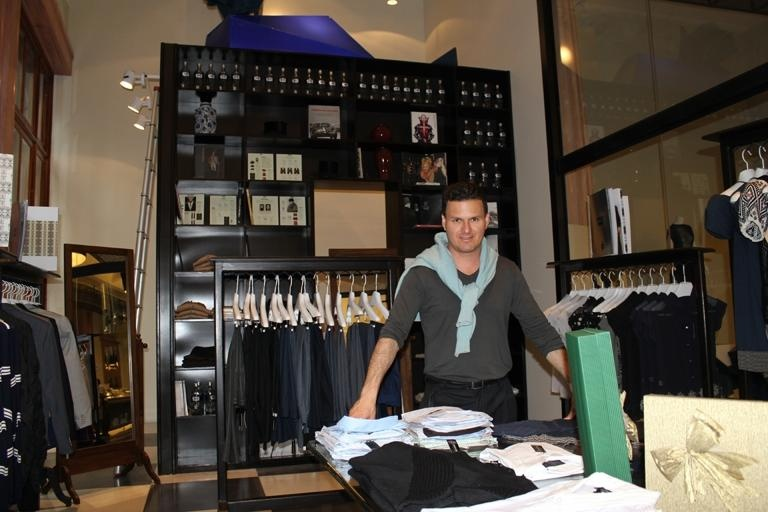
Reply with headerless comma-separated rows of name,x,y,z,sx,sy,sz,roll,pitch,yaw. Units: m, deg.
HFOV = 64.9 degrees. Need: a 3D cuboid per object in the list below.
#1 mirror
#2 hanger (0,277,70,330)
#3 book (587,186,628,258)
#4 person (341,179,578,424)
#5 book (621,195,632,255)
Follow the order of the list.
mirror,-2.654,1.016,5.736,0.779,2.244,0.477,2,-7,-33
hanger,-2.932,0.455,5.172,0.462,0.171,0.473,10,14,-14
book,1.899,-0.284,5.113,0.156,0.529,0.383,-1,1,-28
person,0.436,0.294,3.649,1.192,1.451,0.573,-1,-6,-14
book,2.055,-0.307,5.067,0.062,0.424,0.097,7,-8,-37
